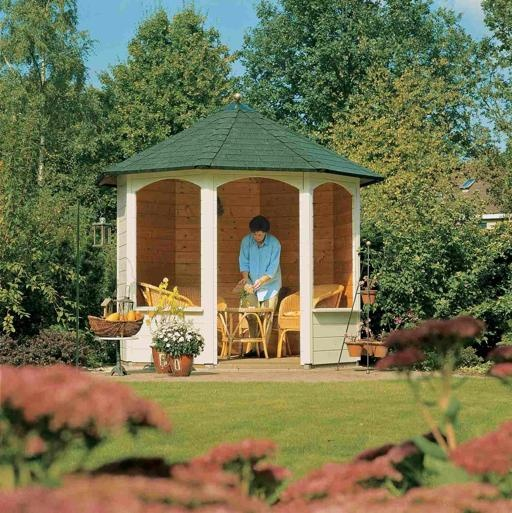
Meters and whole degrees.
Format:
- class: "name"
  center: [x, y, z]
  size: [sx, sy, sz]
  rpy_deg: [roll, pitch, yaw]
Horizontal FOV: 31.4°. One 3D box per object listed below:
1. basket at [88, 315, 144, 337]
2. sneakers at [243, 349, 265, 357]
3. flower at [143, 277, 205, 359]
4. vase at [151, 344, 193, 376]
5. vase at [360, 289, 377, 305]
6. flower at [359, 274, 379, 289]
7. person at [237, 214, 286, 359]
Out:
- class: "basket"
  center: [-1.712, 0.836, 11.038]
  size: [0.636, 0.259, 0.371]
  rpy_deg: [1, -4, -10]
- class: "sneakers"
  center: [-0.031, 1.464, 14.119]
  size: [0.360, 0.157, 0.129]
  rpy_deg: [1, -4, 21]
- class: "flower"
  center: [-1.072, 0.787, 11.822]
  size: [0.680, 0.985, 1.743]
  rpy_deg: [1, -4, -7]
- class: "vase"
  center: [-1.034, 1.266, 11.219]
  size: [0.373, 0.288, 0.379]
  rpy_deg: [0, -6, -3]
- class: "vase"
  center: [1.543, 0.528, 12.452]
  size: [0.206, 0.217, 0.381]
  rpy_deg: [0, -4, 7]
- class: "flower"
  center: [1.592, 0.351, 12.889]
  size: [0.233, 0.176, 0.241]
  rpy_deg: [-3, -3, 13]
- class: "person"
  center: [0.048, 0.301, 13.602]
  size: [0.627, 1.862, 1.060]
  rpy_deg: [0, -4, -1]
